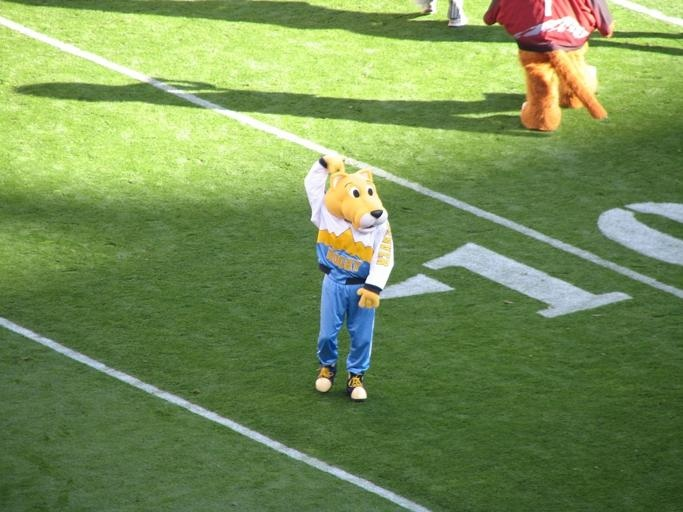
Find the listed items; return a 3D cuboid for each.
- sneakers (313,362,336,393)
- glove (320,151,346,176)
[{"bbox_3d":[-0.138,0.999,9.901,0.151,0.090,0.285,2,14,3],"label":"sneakers"},{"bbox_3d":[-0.071,-0.720,9.768,0.183,0.196,0.240,-2,26,-2],"label":"glove"}]
